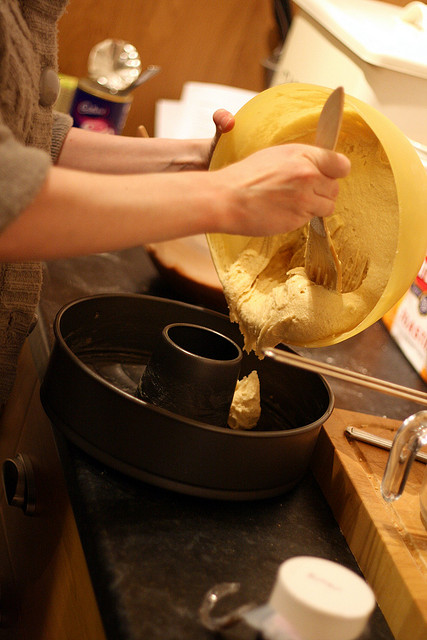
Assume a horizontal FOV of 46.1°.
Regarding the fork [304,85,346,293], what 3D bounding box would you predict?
[{"bbox_3d":[0.107,-0.098,0.497,0.039,0.243,0.035,15,27,37],"label":"fork"}]
